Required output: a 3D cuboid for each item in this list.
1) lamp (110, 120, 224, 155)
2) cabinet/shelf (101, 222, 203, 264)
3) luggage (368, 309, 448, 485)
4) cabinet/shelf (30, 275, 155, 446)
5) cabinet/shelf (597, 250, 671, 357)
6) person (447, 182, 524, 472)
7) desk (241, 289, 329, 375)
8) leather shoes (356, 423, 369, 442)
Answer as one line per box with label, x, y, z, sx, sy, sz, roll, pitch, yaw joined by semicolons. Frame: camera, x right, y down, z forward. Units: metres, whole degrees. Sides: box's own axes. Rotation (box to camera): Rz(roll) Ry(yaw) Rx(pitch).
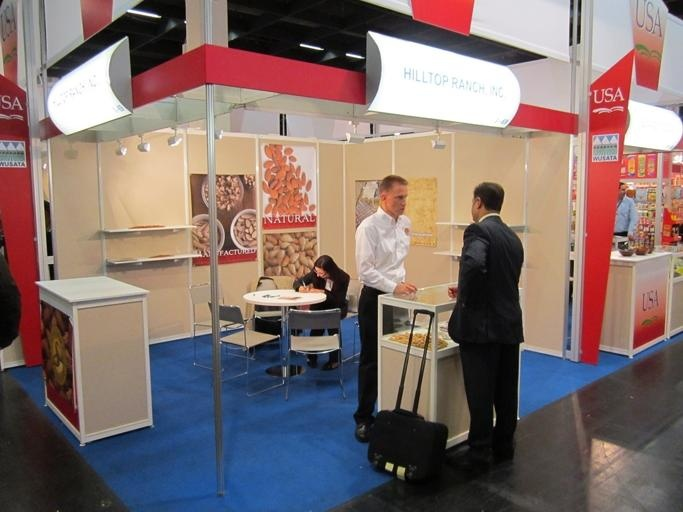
lamp;-2.168;-1.411;6.434;1.048;0.385;2.397;-6;12;-22
cabinet/shelf;-2.608;-0.156;7.339;1.271;0.553;0.277;-8;13;-32
luggage;0.532;1.150;4.309;0.636;1.300;0.548;-5;11;-20
cabinet/shelf;-2.506;1.008;5.388;0.755;1.330;1.206;-5;6;-45
cabinet/shelf;3.919;0.577;7.151;1.179;1.202;0.504;-8;9;-36
person;1.224;0.572;4.443;0.645;2.298;0.435;-8;13;-34
desk;-0.687;0.879;6.529;0.934;0.991;1.000;1;5;8
leather shoes;0.190;1.619;4.871;0.099;0.151;0.151;-3;-23;3
